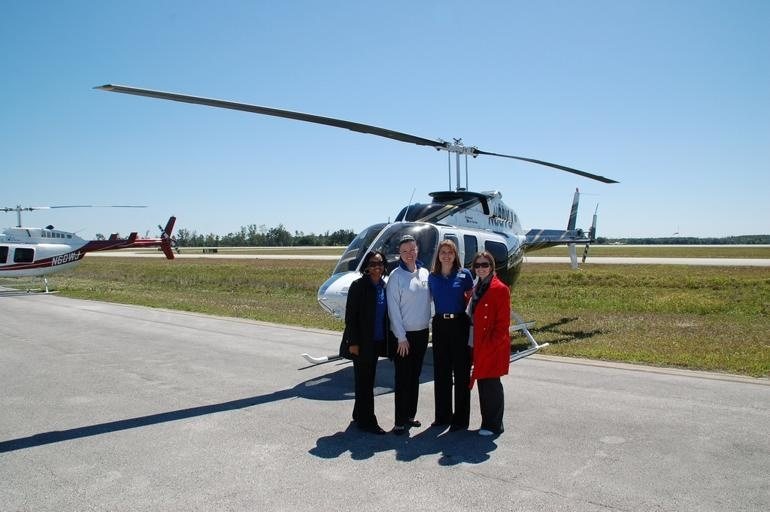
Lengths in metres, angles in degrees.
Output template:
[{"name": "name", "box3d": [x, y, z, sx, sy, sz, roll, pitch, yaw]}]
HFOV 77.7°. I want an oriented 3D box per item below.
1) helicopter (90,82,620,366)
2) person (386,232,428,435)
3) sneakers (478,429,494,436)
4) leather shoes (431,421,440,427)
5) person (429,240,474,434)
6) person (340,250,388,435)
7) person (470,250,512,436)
[{"name": "helicopter", "box3d": [1.437, -0.672, 9.308, 5.361, 1.981, 6.822, -2, -5, 40]}, {"name": "person", "box3d": [0.270, 0.979, 6.145, 0.519, 2.423, 0.873, 2, 9, 18]}, {"name": "sneakers", "box3d": [1.244, 2.164, 5.869, 0.163, 0.076, 0.051, 1, 8, 10]}, {"name": "leather shoes", "box3d": [0.665, 2.163, 6.161, 0.055, 0.051, 0.141, 1, -14, -4]}, {"name": "person", "box3d": [0.854, 0.999, 6.188, 0.569, 2.377, 0.705, 0, 9, 6]}, {"name": "person", "box3d": [-0.246, 1.074, 6.080, 0.587, 2.227, 0.662, 0, 9, 2]}, {"name": "person", "box3d": [1.302, 1.070, 6.011, 0.511, 2.231, 0.704, 1, 9, 12]}]
